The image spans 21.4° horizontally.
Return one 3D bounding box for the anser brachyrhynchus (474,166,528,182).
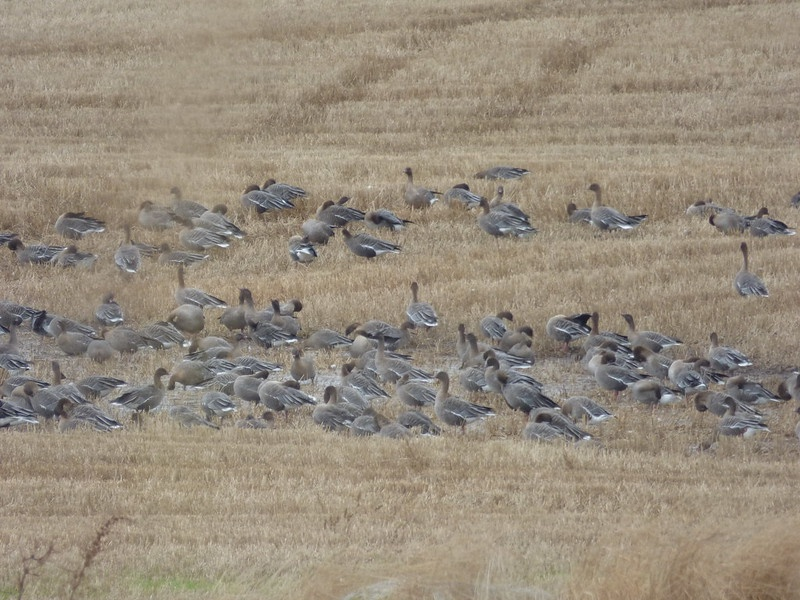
[{"bbox_3d":[3.626,-4.261,73.123,1.830,0.652,0.756,-4,99,17],"label":"anser brachyrhynchus"}]
